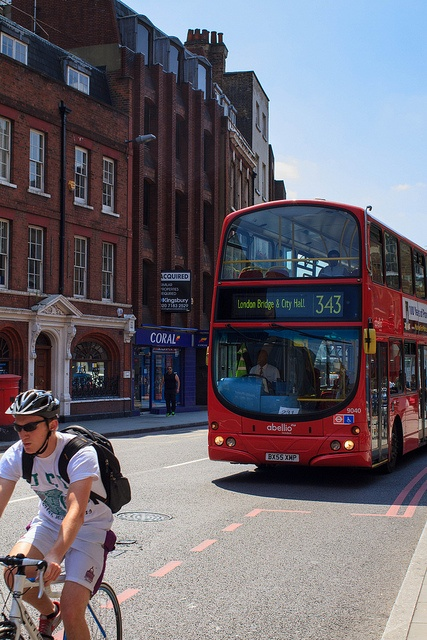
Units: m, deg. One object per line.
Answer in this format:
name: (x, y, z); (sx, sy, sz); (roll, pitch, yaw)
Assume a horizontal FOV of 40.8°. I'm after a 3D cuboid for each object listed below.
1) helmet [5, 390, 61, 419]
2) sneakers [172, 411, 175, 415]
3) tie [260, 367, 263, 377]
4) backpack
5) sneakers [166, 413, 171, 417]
helmet: (-0.660, 0.296, 2.127); (0.109, 0.091, 0.182); (0, -3, 19)
sneakers: (-2.085, 4.750, 29.464); (0.138, 0.189, 0.151); (1, 0, -10)
tie: (0.844, 0.904, 10.180); (0.070, 0.166, 0.034); (-1, -2, 15)
backpack: (-0.497, 0.639, 2.392); (0.260, 0.342, 0.204); (-7, 0, -20)
sneakers: (-2.316, 4.820, 29.516); (0.148, 0.231, 0.490); (0, -8, 2)
